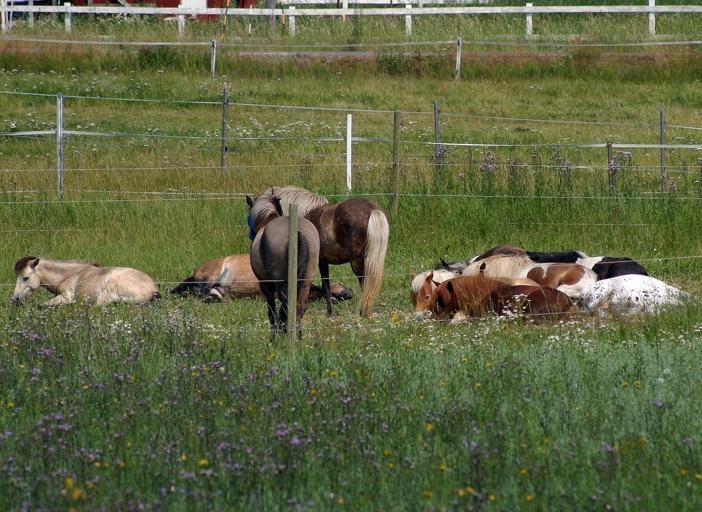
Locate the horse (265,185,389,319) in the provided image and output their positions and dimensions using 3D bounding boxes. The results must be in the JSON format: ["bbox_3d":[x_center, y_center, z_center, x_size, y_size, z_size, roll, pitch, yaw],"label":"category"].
[{"bbox_3d":[-0.600,-0.183,28.112,3.017,2.669,0.879,0,1,35],"label":"horse"}]

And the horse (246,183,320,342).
[{"bbox_3d":[-1.287,0.241,25.634,1.121,2.496,2.540,-2,8,-18],"label":"horse"}]

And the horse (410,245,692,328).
[{"bbox_3d":[3.698,0.747,27.120,4.954,1.114,2.000,4,9,20],"label":"horse"}]

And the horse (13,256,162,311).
[{"bbox_3d":[-5.305,0.511,28.128,2.910,1.610,1.239,5,-2,10],"label":"horse"}]
